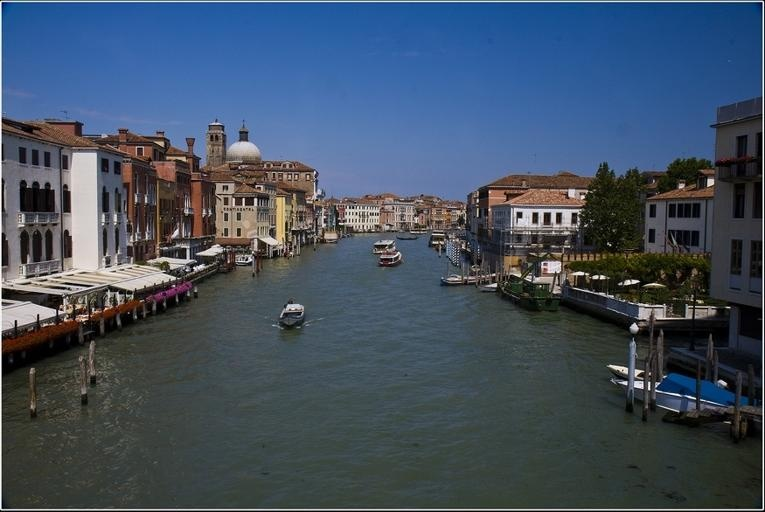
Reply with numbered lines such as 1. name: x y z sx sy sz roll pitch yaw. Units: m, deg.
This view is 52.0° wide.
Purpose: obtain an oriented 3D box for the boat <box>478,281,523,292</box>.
1. boat: 13.802 3.498 91.009 4.289 0.846 1.278 0 5 44

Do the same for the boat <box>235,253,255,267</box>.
1. boat: -21.898 0.736 123.776 2.453 1.702 1.897 0 7 1

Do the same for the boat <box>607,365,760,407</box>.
1. boat: 19.546 8.927 53.345 8.381 2.081 2.750 10 14 44

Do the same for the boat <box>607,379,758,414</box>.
1. boat: 20.253 9.728 52.278 7.322 1.804 2.374 6 10 41

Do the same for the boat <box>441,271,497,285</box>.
1. boat: 11.440 3.065 100.186 7.752 1.442 2.283 0 0 -16

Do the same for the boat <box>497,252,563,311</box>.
1. boat: 16.588 2.567 86.479 6.370 4.905 14.811 2 7 12

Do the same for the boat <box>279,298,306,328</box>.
1. boat: -8.325 5.570 72.944 1.266 1.137 4.458 -2 11 -1
